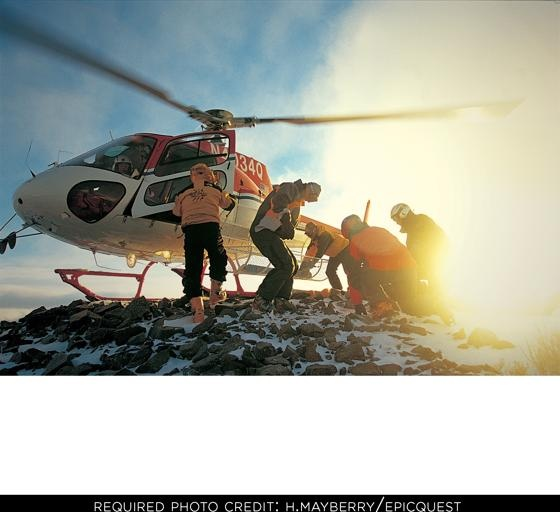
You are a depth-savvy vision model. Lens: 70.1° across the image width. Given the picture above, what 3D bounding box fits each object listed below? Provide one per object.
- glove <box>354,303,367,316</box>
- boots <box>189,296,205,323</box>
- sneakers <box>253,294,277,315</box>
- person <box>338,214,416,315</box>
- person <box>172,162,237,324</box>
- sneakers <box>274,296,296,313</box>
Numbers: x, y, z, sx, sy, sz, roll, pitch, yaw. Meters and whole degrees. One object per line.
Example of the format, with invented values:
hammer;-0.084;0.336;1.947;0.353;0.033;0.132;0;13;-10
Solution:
glove;0.988;0.671;4.801;0.154;0.122;0.097;7;-21;-14
boots;-0.862;0.575;4.178;0.150;0.261;0.367;2;10;-11
sneakers;-0.187;0.579;4.502;0.303;0.164;0.142;4;-3;0
person;1.219;0.165;4.873;0.651;1.458;0.538;-9;-47;-11
person;-0.832;-0.173;4.386;0.666;1.651;0.950;2;11;-14
sneakers;0.049;0.606;4.805;0.237;0.099;0.297;-2;4;-3
